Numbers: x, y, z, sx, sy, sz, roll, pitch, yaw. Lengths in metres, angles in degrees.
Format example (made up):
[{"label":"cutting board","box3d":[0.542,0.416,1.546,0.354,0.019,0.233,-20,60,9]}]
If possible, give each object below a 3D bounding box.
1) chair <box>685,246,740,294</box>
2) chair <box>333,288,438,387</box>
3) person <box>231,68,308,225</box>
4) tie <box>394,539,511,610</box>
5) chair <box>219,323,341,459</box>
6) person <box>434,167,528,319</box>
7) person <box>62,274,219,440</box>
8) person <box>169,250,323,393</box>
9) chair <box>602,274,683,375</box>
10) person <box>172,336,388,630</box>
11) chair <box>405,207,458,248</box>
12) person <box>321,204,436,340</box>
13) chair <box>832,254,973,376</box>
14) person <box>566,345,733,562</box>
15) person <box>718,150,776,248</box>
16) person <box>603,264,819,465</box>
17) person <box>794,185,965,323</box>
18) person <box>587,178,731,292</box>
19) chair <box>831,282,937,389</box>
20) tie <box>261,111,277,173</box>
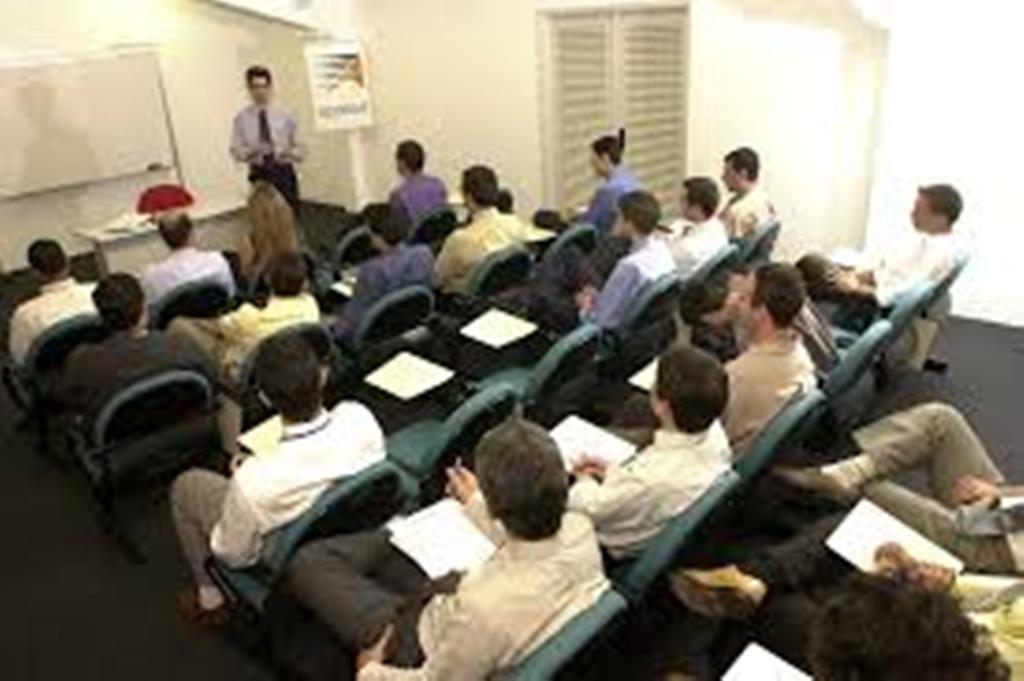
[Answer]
[{"label":"chair","box3d":[1.453,-0.525,5.024,0.215,0.311,0.266,-37,53,-20]},{"label":"chair","box3d":[-0.846,-0.006,4.546,0.382,0.561,0.346,-24,48,-31]},{"label":"person","box3d":[-2.567,-1.736,7.377,0.675,2.105,0.631,-7,32,-18]},{"label":"tie","box3d":[-0.340,1.035,2.901,0.209,0.081,0.294,-24,29,-31]},{"label":"chair","box3d":[-1.295,0.282,3.730,0.478,0.730,0.426,-23,47,-35]},{"label":"person","box3d":[-0.272,-0.876,5.624,0.810,1.242,0.724,-17,45,-22]},{"label":"person","box3d":[-2.288,0.171,4.220,0.908,1.136,0.667,-12,14,-31]},{"label":"person","box3d":[-1.729,-0.107,4.352,0.419,0.990,0.791,-16,49,-38]},{"label":"chair","box3d":[0.834,-0.105,4.485,0.348,0.492,0.434,-31,41,-28]},{"label":"person","box3d":[-1.209,0.754,3.444,0.966,1.554,0.715,37,38,27]},{"label":"chair","box3d":[-0.715,-0.987,6.099,0.307,0.470,0.306,-26,58,-23]},{"label":"person","box3d":[-0.982,-0.494,5.184,0.798,1.074,0.658,-29,49,-36]},{"label":"chair","box3d":[2.944,-0.239,4.940,0.604,0.769,0.618,13,-1,-27]},{"label":"person","box3d":[0.679,0.576,3.336,0.582,1.108,0.613,-21,49,-23]},{"label":"person","box3d":[2.025,-1.261,5.944,0.404,0.751,0.815,10,29,40]},{"label":"person","box3d":[1.110,0.146,3.848,0.504,1.199,0.797,-26,48,-26]},{"label":"person","box3d":[2.675,-0.656,5.291,1.378,1.091,0.701,9,26,30]},{"label":"person","box3d":[1.346,-0.862,5.520,0.736,0.856,0.498,14,34,34]},{"label":"chair","box3d":[2.513,-0.029,4.589,0.386,0.711,0.467,-26,36,-31]},{"label":"tie","box3d":[-2.549,-2.055,7.104,0.146,0.583,0.197,-10,24,-19]}]
